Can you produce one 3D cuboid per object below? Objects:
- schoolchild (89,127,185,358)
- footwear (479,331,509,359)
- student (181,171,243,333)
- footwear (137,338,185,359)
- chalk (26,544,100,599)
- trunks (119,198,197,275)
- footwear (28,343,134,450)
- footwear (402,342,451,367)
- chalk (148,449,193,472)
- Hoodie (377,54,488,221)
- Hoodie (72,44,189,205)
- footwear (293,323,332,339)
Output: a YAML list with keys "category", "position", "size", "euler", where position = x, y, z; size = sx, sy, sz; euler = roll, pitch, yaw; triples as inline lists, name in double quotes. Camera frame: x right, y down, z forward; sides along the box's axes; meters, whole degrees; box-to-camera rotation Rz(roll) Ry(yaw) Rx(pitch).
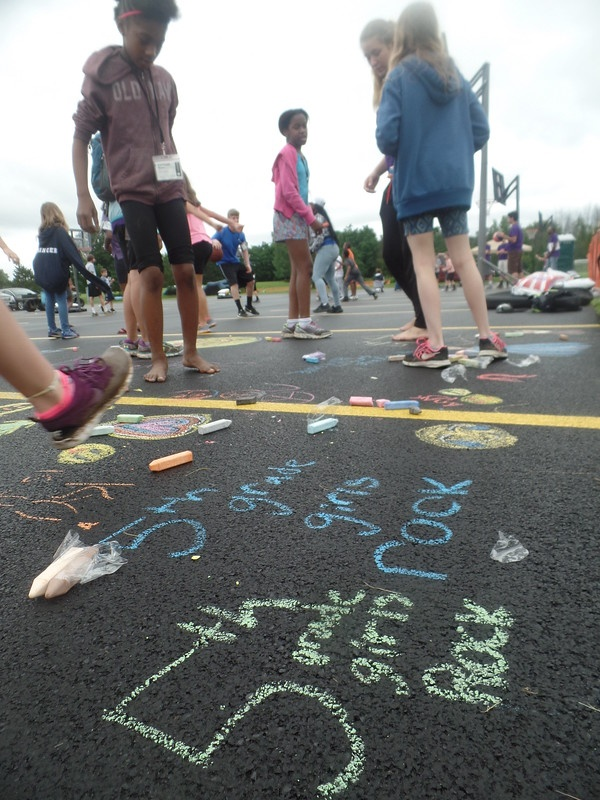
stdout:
- category: "schoolchild"
  position: [-1.280, -1.275, 4.604]
  size: [0.545, 1.836, 0.508]
  euler: [-24, -8, 31]
- category: "footwear"
  position: [1.178, -0.310, 3.615]
  size: [0.094, 0.116, 0.243]
  euler: [2, 13, 30]
- category: "student"
  position: [-0.913, -1.696, 6.647]
  size: [0.766, 1.934, 0.571]
  euler: [-8, -20, 0]
- category: "footwear"
  position: [-1.169, -0.416, 4.903]
  size: [0.433, 0.194, 0.156]
  euler: [-4, 41, -3]
- category: "chalk"
  position: [-0.511, 0.371, 1.273]
  size: [0.089, 0.034, 0.176]
  euler: [3, 15, 7]
- category: "trunks"
  position: [-0.855, -1.014, 3.591]
  size: [0.354, 0.478, 0.188]
  euler: [-17, 15, -23]
- category: "footwear"
  position: [-0.710, -0.038, 1.907]
  size: [0.156, 0.186, 0.419]
  euler: [5, 37, 13]
- category: "footwear"
  position: [0.760, -0.282, 3.661]
  size: [0.315, 0.190, 0.125]
  euler: [5, 15, 21]
- category: "chalk"
  position: [-0.422, 0.206, 1.992]
  size: [0.048, 0.054, 0.210]
  euler: [1, 5, 42]
- category: "Hoodie"
  position: [0.789, -1.496, 3.434]
  size: [0.695, 0.841, 0.282]
  euler: [-10, 16, -23]
- category: "Hoodie"
  position: [-0.990, -1.529, 3.405]
  size: [0.557, 0.805, 0.222]
  euler: [-8, 15, -17]
- category: "footwear"
  position: [0.121, -0.643, 5.564]
  size: [0.364, 0.174, 0.142]
  euler: [1, 14, 4]
